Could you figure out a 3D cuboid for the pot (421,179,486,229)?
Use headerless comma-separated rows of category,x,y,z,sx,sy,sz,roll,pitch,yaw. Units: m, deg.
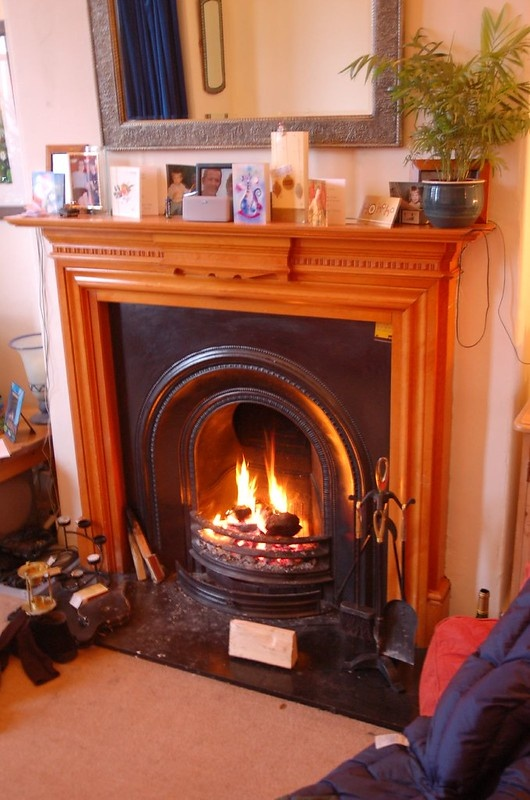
pot,0.438,-0.463,1.396,0.121,0.094,0.128,-1,26,0
